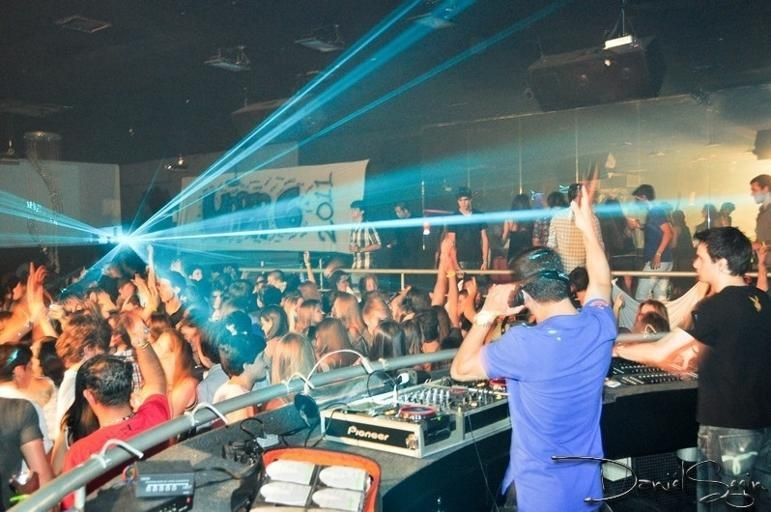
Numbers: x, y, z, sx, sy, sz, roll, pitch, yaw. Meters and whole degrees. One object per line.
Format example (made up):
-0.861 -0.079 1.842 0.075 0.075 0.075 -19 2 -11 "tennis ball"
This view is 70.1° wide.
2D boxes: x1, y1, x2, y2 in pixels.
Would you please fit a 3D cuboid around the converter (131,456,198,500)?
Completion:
-1.423 1.427 3.504 0.386 0.219 0.157 -2 -1 -11 "converter"

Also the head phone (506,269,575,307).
1.074 0.222 3.860 0.397 0.273 0.142 -3 0 11 "head phone"
